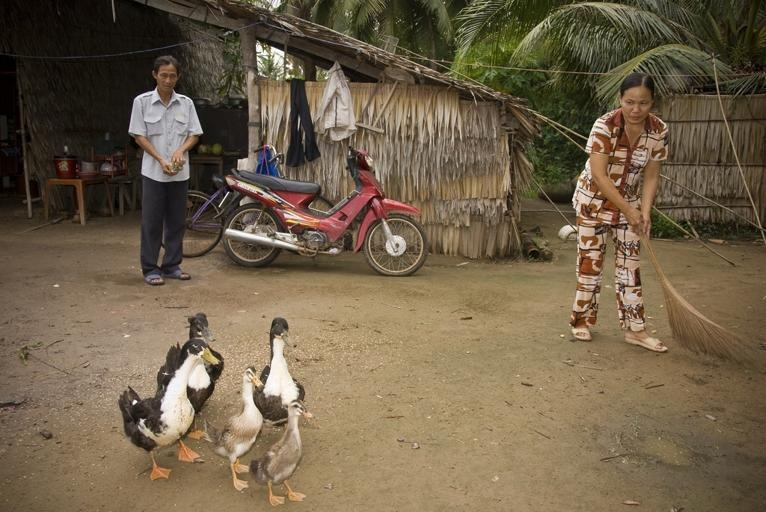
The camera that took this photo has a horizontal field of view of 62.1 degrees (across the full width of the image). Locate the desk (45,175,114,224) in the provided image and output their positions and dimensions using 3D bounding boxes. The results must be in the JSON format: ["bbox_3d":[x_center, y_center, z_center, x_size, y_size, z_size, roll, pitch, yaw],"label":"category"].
[{"bbox_3d":[-5.600,-1.092,11.708,1.150,0.698,1.171,-3,14,-23],"label":"desk"}]

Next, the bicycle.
[{"bbox_3d":[-1.787,-0.860,9.668,2.606,1.622,1.301,-2,20,-5],"label":"bicycle"}]

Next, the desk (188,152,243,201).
[{"bbox_3d":[-3.875,-1.873,14.775,0.959,1.092,0.793,-3,28,14],"label":"desk"}]

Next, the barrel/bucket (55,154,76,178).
[{"bbox_3d":[-5.635,-1.610,11.358,0.372,0.419,0.368,2,3,0],"label":"barrel/bucket"}]

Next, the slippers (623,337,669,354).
[{"bbox_3d":[2.614,0.872,6.347,0.359,0.116,0.141,5,11,35],"label":"slippers"}]

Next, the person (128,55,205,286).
[{"bbox_3d":[-2.640,-1.020,7.728,0.771,2.702,0.612,-2,8,-21],"label":"person"}]

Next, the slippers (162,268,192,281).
[{"bbox_3d":[-2.603,0.239,8.081,0.379,0.159,0.143,1,10,6],"label":"slippers"}]

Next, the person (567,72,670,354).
[{"bbox_3d":[2.326,-0.394,6.193,0.879,2.638,0.666,6,9,32],"label":"person"}]
